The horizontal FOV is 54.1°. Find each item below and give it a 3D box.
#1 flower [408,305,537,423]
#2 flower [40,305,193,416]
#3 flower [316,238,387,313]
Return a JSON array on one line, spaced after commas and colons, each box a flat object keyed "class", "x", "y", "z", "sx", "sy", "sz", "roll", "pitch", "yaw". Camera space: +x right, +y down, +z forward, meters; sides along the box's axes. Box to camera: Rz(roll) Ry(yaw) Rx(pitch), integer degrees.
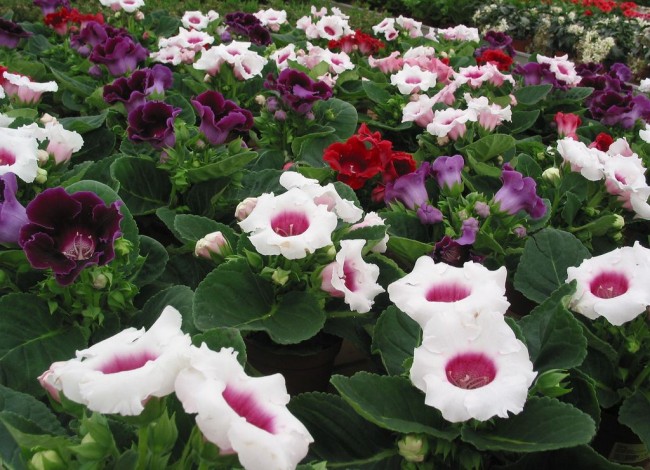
[{"class": "flower", "x": 0.562, "y": 0.504, "z": 2.547, "sx": 0.428, "sy": 0.210, "sz": 0.481, "roll": 10, "pitch": 68, "yaw": 13}, {"class": "flower", "x": -0.661, "y": 0.428, "z": 2.241, "sx": 0.368, "sy": 0.196, "sz": 0.359, "roll": -25, "pitch": 30, "yaw": -18}, {"class": "flower", "x": 0.139, "y": 0.188, "z": 2.932, "sx": 0.258, "sy": 0.151, "sz": 0.355, "roll": 9, "pitch": 74, "yaw": -26}]
